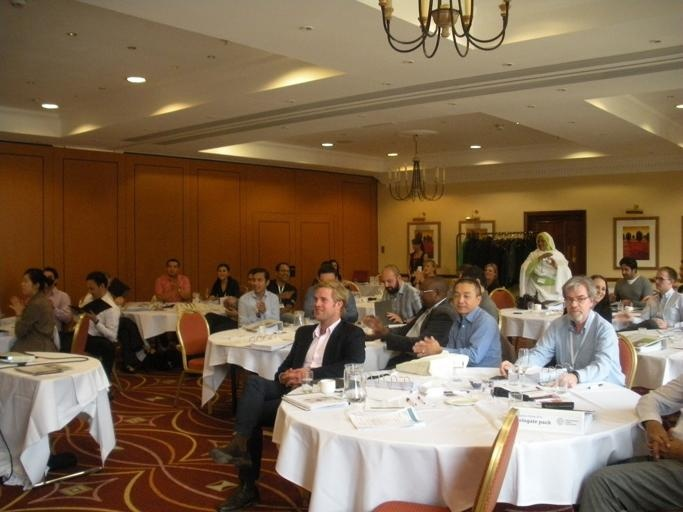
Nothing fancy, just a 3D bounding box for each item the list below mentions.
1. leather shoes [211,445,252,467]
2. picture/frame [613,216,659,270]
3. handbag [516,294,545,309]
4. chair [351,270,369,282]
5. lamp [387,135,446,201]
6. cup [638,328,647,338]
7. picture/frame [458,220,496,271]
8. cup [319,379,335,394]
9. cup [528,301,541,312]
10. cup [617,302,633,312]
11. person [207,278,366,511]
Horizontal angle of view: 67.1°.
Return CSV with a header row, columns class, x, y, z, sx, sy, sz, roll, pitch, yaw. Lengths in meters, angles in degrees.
class,x,y,z,sx,sy,sz,roll,pitch,yaw
leather shoes,-0.739,1.348,3.507,0.268,0.126,0.105,13,-10,-8
picture/frame,5.937,-0.268,10.306,1.087,1.408,0.051,-2,-5,45
handbag,2.790,0.629,7.702,0.288,0.268,0.384,1,2,-40
chair,0.453,0.508,12.614,0.290,0.371,0.312,1,-4,-6
lamp,1.877,-2.001,12.471,1.362,1.784,1.353,0,-3,-2
cup,3.104,0.790,5.301,0.094,0.095,0.129,0,-4,3
picture/frame,3.119,-0.222,11.717,1.090,1.478,0.125,-6,-21,32
cup,-0.088,0.829,3.284,0.085,0.061,0.084,-1,-7,0
cup,2.713,0.719,7.226,0.142,0.136,0.091,1,-3,26
cup,3.847,0.697,6.968,0.275,0.111,0.186,1,-1,-40
person,-0.374,1.000,3.813,1.266,1.506,0.645,-9,8,-41
